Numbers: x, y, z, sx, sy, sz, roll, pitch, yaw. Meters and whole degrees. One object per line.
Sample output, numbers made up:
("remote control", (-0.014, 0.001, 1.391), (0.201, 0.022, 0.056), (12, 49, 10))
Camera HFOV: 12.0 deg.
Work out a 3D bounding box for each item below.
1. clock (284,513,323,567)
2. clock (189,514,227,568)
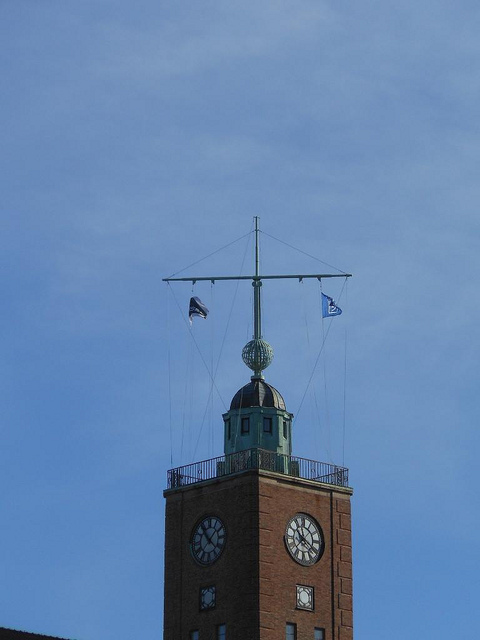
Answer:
("clock", (2.875, 10.150, 107.413), (0.094, 1.485, 1.647), (-12, -66, 37))
("clock", (-1.404, 10.254, 107.784), (0.162, 2.321, 1.673), (10, -12, -32))
